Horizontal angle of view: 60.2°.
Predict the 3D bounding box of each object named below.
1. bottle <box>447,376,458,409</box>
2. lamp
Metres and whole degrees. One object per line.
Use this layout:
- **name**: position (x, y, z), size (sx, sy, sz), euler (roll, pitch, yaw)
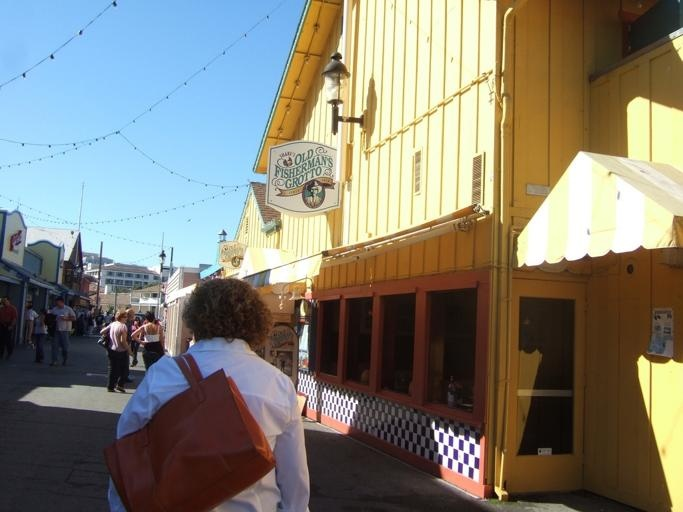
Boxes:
- **bottle**: position (1.506, 1.863, 7.976), size (0.131, 0.331, 0.204), euler (2, -3, -15)
- **lamp**: position (0.023, -3.105, 11.565), size (0.779, 1.579, 1.349), euler (1, -3, 1)
